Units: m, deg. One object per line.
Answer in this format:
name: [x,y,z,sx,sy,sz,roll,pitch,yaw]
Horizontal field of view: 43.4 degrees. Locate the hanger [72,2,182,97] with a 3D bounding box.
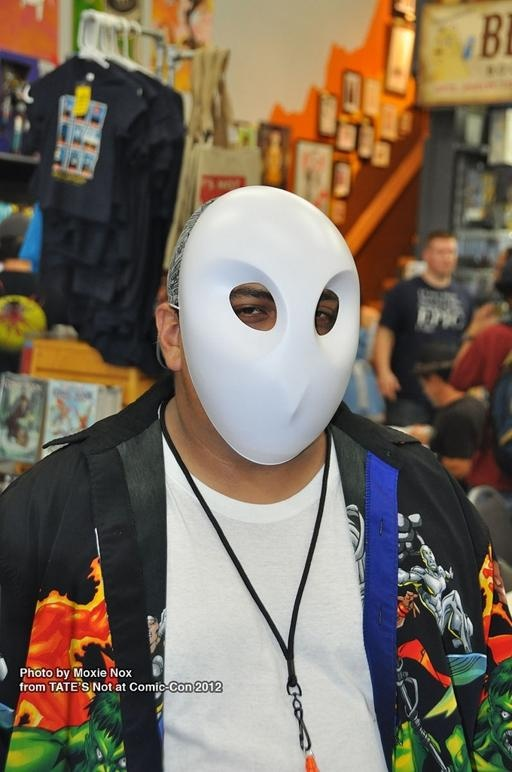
hanger: [-0.223,-0.651,1.358,0.103,0.124,0.321,7,-1,33]
